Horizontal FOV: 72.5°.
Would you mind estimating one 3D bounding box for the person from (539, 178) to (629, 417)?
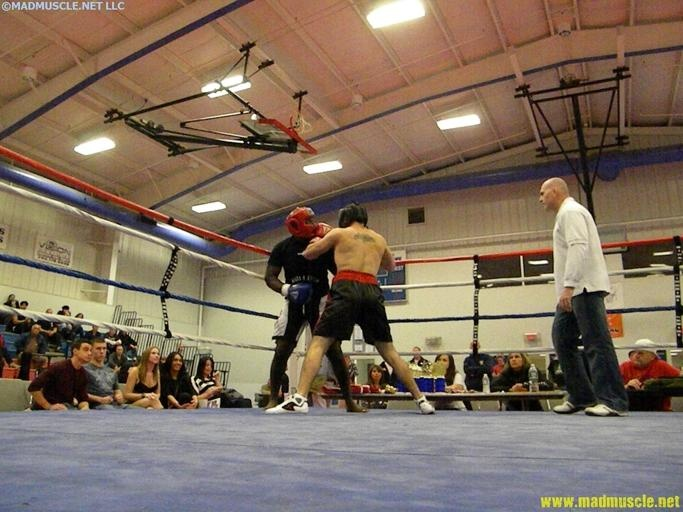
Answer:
[{"bbox_3d":[1.278,0.173,2.543,0.314,1.331,0.488,-4,-16,17],"label":"person"}]

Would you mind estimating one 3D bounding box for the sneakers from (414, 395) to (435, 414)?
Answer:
[{"bbox_3d":[0.493,0.887,2.762,0.076,0.066,0.162,-7,-23,-5],"label":"sneakers"}]

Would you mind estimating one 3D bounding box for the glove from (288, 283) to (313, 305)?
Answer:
[{"bbox_3d":[-0.225,0.220,2.901,0.168,0.098,0.137,-2,27,6],"label":"glove"}]

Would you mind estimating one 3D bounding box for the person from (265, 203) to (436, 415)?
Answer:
[{"bbox_3d":[0.059,0.256,2.756,0.895,1.285,0.319,8,-17,-25],"label":"person"}]

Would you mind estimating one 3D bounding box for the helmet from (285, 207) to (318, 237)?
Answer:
[{"bbox_3d":[-0.227,-0.223,3.146,0.258,0.194,0.180,-6,-3,-10],"label":"helmet"}]

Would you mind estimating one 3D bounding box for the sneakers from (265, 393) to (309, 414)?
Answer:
[{"bbox_3d":[-0.294,0.775,2.485,0.209,0.108,0.240,6,-14,-22],"label":"sneakers"}]

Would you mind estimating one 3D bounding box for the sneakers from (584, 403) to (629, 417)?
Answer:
[{"bbox_3d":[1.278,0.737,2.228,0.204,0.050,0.063,8,-35,-12],"label":"sneakers"}]

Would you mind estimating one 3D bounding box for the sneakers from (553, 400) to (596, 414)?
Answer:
[{"bbox_3d":[1.322,0.828,2.570,0.271,0.070,0.082,3,-34,-4],"label":"sneakers"}]
